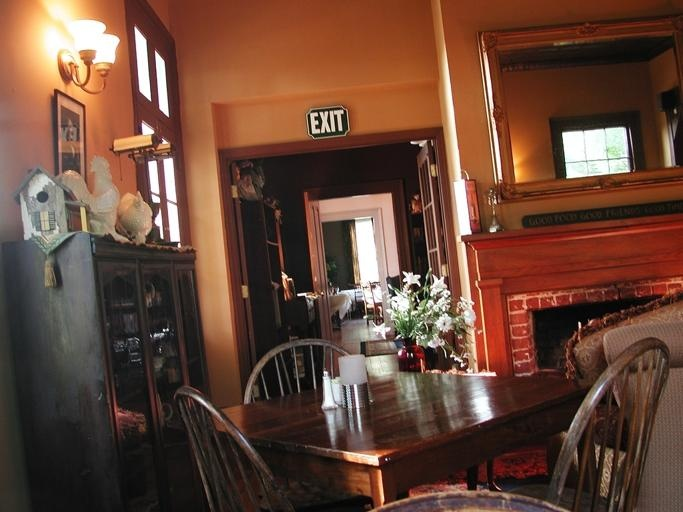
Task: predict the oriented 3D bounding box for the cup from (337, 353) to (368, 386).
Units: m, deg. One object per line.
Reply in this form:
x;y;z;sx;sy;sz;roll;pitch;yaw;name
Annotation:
0.048;0.476;2.345;0.108;0.131;0.128;-3;-5;-1;cup

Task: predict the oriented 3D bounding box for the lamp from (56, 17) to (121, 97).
-1.369;-1.106;3.101;0.272;0.382;0.404;-6;7;-1;lamp

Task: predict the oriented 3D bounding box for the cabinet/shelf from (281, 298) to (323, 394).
-0.684;1.189;7.524;0.610;1.234;0.628;-6;-8;26;cabinet/shelf

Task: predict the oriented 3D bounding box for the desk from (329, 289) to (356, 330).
0.001;1.124;11.776;0.267;0.919;2.182;-5;8;6;desk
